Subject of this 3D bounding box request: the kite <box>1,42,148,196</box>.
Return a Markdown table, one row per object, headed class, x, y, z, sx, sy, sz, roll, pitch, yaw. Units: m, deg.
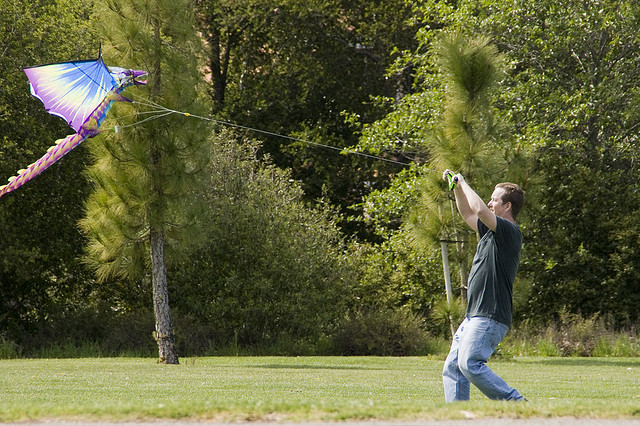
| class | x | y | z | sx | sy | sz | roll | pitch | yaw |
| --- | --- | --- | --- | --- | --- | --- | --- | --- | --- |
| kite | -5.908 | -2.609 | 27.951 | 3.652 | 1.478 | 2.848 | -35 | 3 | -1 |
